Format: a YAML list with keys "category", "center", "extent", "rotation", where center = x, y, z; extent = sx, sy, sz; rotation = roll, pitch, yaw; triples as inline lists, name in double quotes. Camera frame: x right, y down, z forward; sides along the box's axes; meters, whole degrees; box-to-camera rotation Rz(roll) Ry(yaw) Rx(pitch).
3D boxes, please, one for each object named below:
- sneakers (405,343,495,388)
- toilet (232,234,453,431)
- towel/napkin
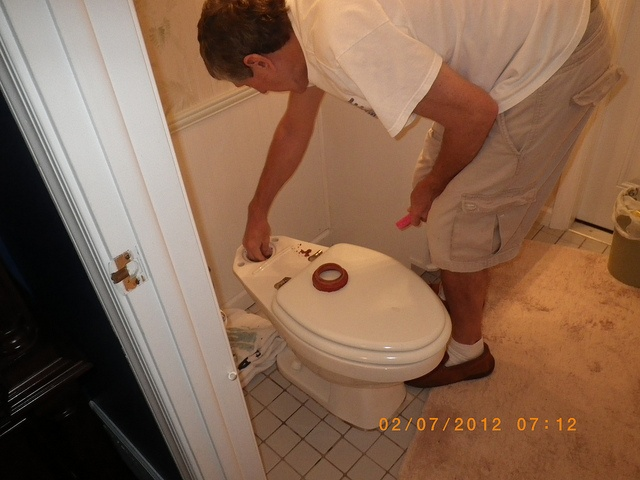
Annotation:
- category: "sneakers"
  center: [0.549, 0.471, 1.769]
  extent: [0.151, 0.175, 0.416]
  rotation: [-11, -9, -31]
- category: "toilet"
  center: [0.055, 0.335, 1.640]
  extent: [0.750, 0.551, 0.480]
  rotation: [22, 41, 30]
- category: "towel/napkin"
  center: [-0.264, 0.467, 1.936]
  extent: [0.288, 0.108, 0.293]
  rotation: [33, 67, 19]
